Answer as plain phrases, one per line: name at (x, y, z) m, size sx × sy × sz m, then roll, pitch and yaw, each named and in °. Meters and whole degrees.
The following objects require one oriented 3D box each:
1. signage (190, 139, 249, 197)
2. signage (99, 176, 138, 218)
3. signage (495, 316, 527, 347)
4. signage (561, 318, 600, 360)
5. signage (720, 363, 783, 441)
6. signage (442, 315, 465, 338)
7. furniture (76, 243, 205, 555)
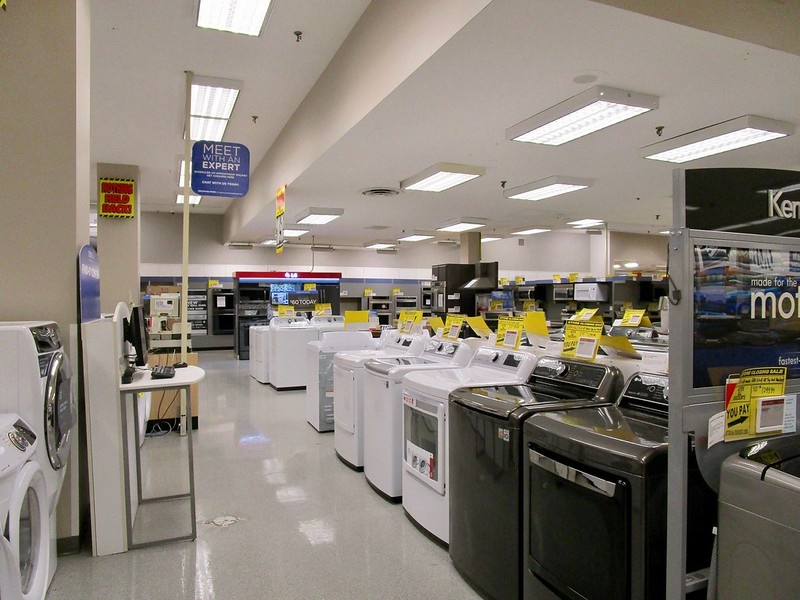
signage at (-2.193, -1.580, 6.962) m, size 0.736 × 0.750 × 0.101 m, roll 2°, pitch -3°, yaw -23°
signage at (-4.631, -1.649, 9.389) m, size 0.571 × 0.697 × 0.494 m, roll -3°, pitch 5°, yaw -26°
signage at (0.856, 0.250, 4.345) m, size 0.023 × 0.243 × 0.233 m, roll 11°, pitch -8°, yaw -25°
signage at (1.182, 0.262, 3.697) m, size 0.042 × 0.275 × 0.243 m, roll 17°, pitch -9°, yaw -42°
signage at (1.546, 0.448, 2.529) m, size 0.327 × 0.361 × 0.023 m, roll -1°, pitch -1°, yaw -17°
signage at (0.490, 0.243, 5.154) m, size 0.147 × 0.204 × 0.360 m, roll -3°, pitch 5°, yaw -20°
furniture at (-1.965, 0.657, 4.362) m, size 0.801 × 2.161 × 0.852 m, roll -3°, pitch 4°, yaw -21°
